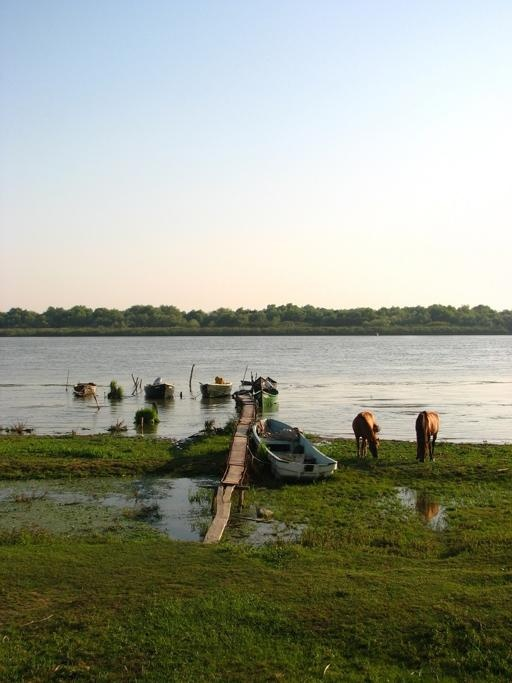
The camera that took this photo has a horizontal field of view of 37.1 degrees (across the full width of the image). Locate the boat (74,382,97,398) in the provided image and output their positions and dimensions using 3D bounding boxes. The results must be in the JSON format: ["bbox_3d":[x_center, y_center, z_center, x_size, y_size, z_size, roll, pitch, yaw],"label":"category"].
[{"bbox_3d":[-12.827,3.680,57.112,1.269,0.699,1.689,2,2,-11],"label":"boat"}]

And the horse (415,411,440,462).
[{"bbox_3d":[6.563,3.572,29.250,0.765,1.891,3.118,3,0,21],"label":"horse"}]

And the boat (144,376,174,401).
[{"bbox_3d":[-7.315,3.707,57.221,1.906,1.442,2.852,0,3,9],"label":"boat"}]

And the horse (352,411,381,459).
[{"bbox_3d":[4.305,3.560,29.672,0.957,1.699,2.636,0,3,8],"label":"horse"}]
